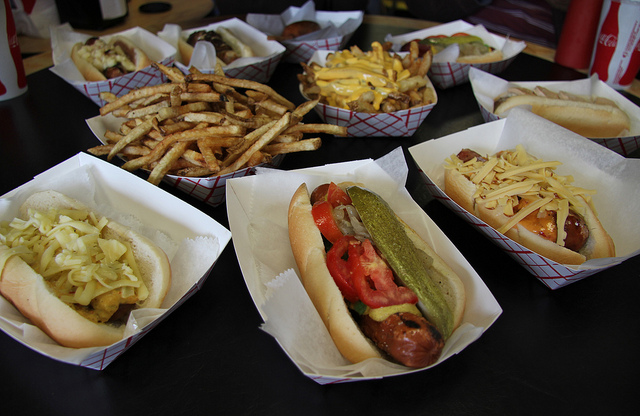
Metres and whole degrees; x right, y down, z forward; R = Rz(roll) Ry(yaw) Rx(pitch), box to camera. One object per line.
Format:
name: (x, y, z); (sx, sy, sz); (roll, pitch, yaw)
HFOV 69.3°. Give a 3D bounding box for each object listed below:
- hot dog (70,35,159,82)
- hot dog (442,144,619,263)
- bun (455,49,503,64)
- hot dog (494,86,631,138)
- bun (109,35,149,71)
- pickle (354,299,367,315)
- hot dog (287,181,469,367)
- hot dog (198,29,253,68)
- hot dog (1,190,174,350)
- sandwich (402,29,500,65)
hot dog: (-1.653, -1.174, 3.554); (0.317, 0.537, 0.152); (-30, 81, -2)
hot dog: (1.134, 0.036, 2.488); (0.510, 0.322, 0.981); (-18, 34, -14)
bun: (1.207, -1.118, 3.551); (0.310, 0.060, 0.186); (0, 69, -13)
hot dog: (1.493, -0.590, 2.903); (0.718, 0.150, 0.230); (19, 69, -4)
bun: (-1.460, -1.195, 3.557); (0.153, 0.114, 0.488); (-35, 52, -29)
pickle: (0.192, 0.466, 2.166); (0.058, 0.020, 0.060); (8, 60, 1)
hot dog: (0.179, 0.353, 2.269); (0.565, 0.314, 0.965); (-16, 54, -28)
hot dog: (-0.729, -1.264, 3.600); (0.304, 0.164, 0.529); (-20, 50, -23)
hot dog: (-1.117, 0.294, 2.140); (0.831, 0.303, 0.487); (37, 61, 19)
sandwich: (0.996, -1.214, 3.508); (0.418, 0.088, 0.399); (-14, 40, -20)
